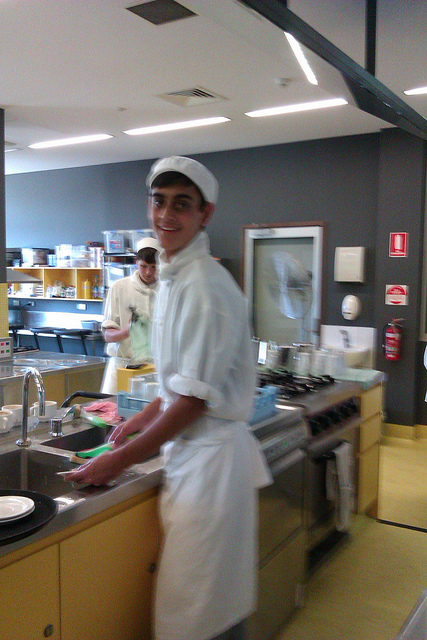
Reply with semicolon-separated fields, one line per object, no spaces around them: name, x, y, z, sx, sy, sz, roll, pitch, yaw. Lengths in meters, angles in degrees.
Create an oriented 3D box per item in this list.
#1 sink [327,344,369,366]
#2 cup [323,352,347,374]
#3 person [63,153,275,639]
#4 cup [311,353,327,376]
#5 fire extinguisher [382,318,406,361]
sink;1.007;0.268;3.489;0.253;0.120;0.333;6;11;45
cup;0.639;0.237;2.494;0.092;0.167;0.160;0;-4;8
person;-0.157;0.232;2.065;1.041;2.146;0.726;0;0;-19
cup;0.526;0.223;2.384;0.098;0.165;0.100;3;-3;0
fire extinguisher;1.713;0.177;4.510;0.222;0.400;0.109;13;11;23
